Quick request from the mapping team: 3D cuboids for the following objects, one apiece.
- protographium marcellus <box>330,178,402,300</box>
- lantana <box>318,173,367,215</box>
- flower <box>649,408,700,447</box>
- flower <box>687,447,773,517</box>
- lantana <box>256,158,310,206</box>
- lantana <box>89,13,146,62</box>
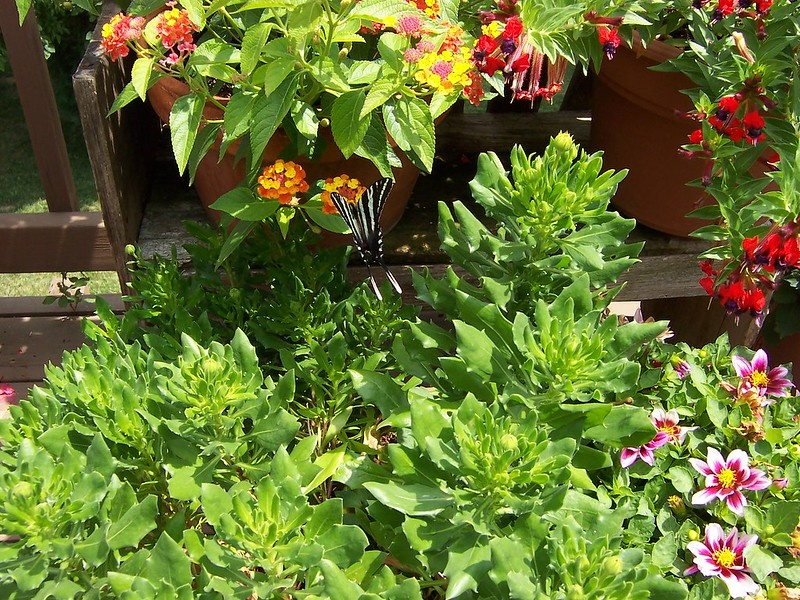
[{"bbox_3d":[-0.069,-0.140,1.428,0.122,0.282,0.114,-1,36,-4],"label":"protographium marcellus"},{"bbox_3d":[-0.127,-0.220,1.398,0.082,0.086,0.023,-36,19,8],"label":"lantana"},{"bbox_3d":[0.530,0.244,1.307,0.116,0.072,0.040,-1,27,-11],"label":"flower"},{"bbox_3d":[0.600,0.335,1.242,0.171,0.107,0.095,1,27,-8],"label":"flower"},{"bbox_3d":[-0.232,-0.240,1.362,0.092,0.090,0.039,-5,-4,-4],"label":"lantana"},{"bbox_3d":[-0.560,-0.533,1.392,0.082,0.095,0.207,-5,28,-19],"label":"lantana"}]
